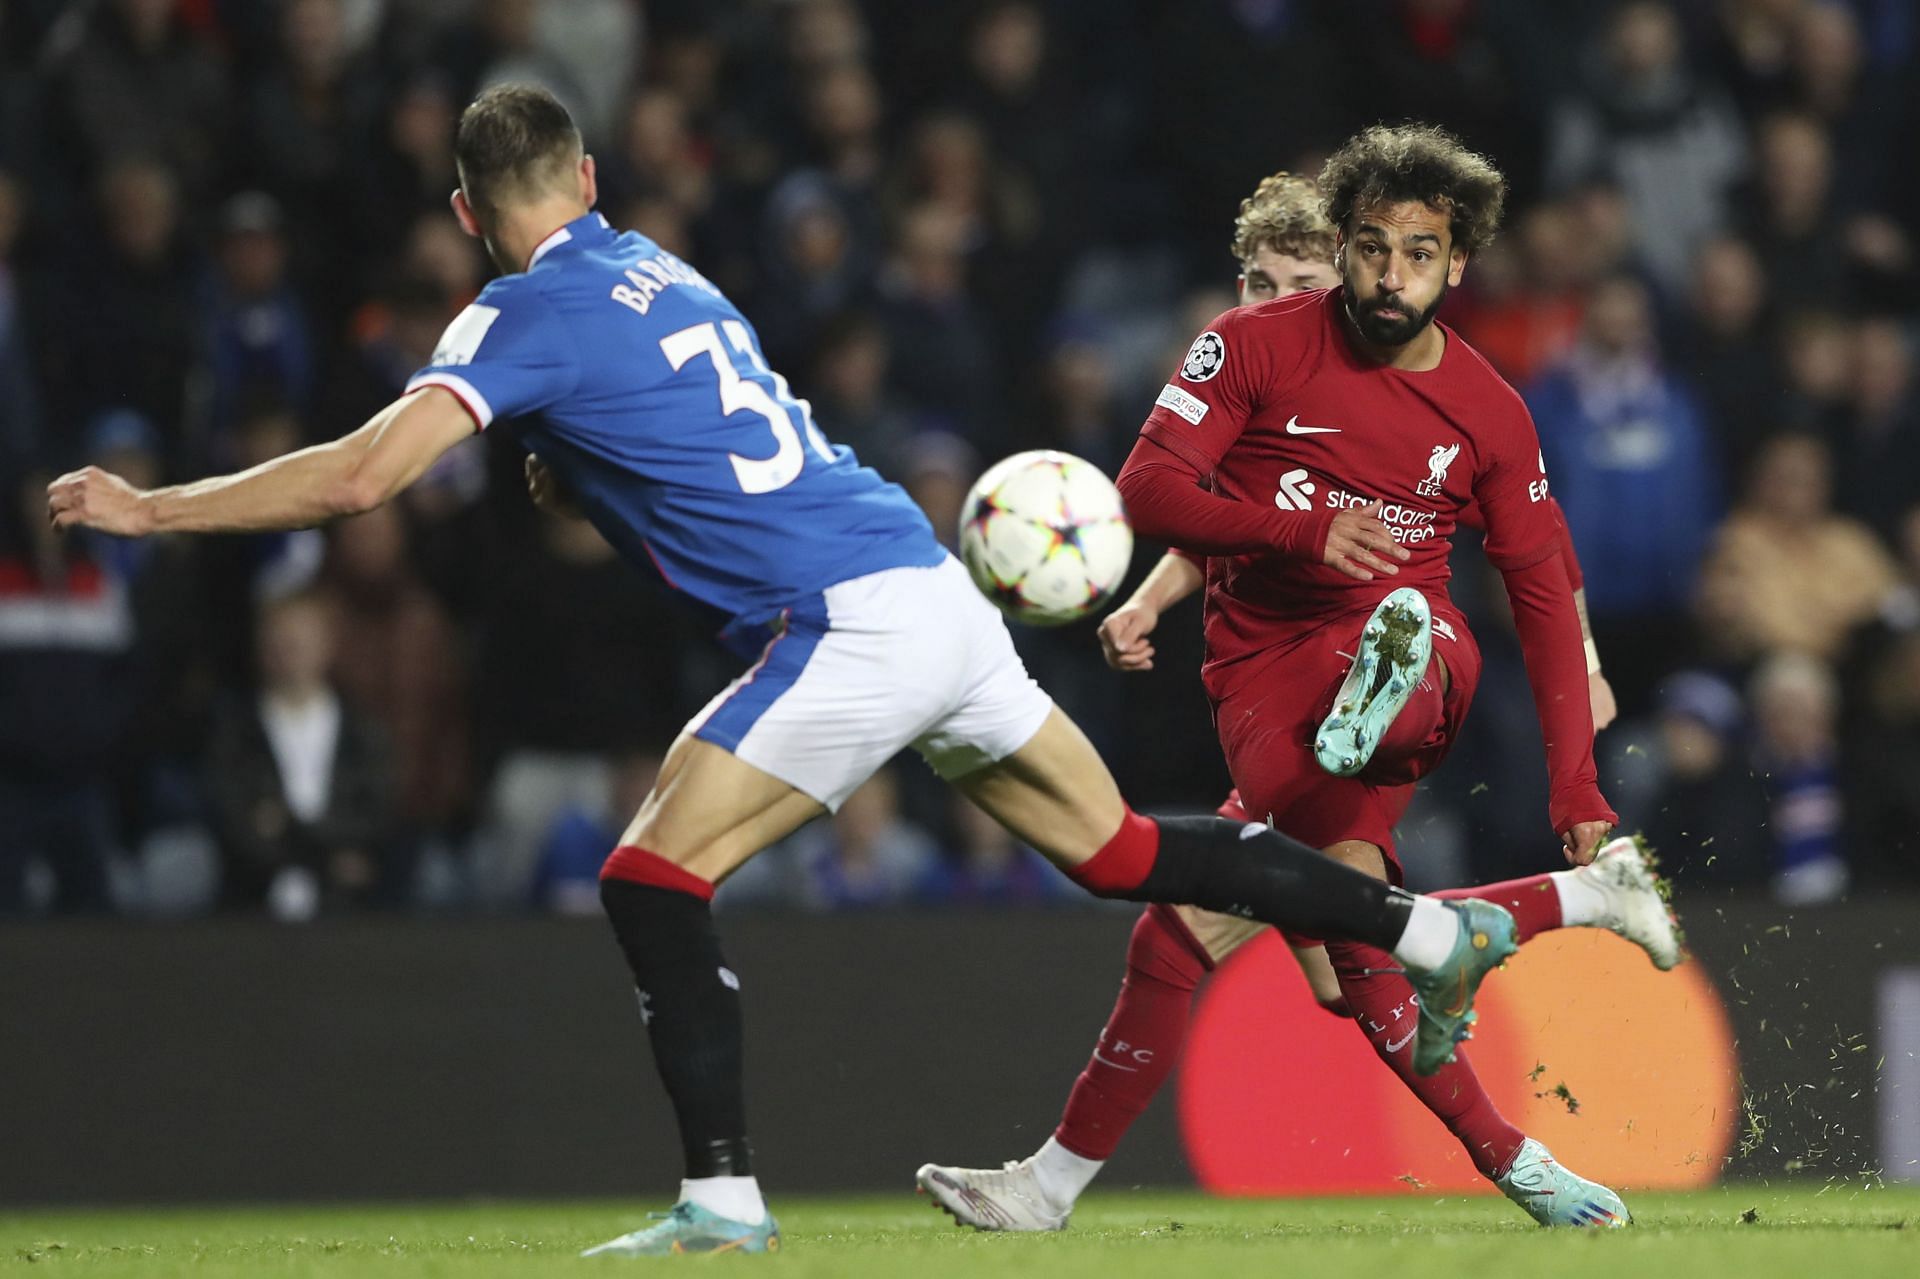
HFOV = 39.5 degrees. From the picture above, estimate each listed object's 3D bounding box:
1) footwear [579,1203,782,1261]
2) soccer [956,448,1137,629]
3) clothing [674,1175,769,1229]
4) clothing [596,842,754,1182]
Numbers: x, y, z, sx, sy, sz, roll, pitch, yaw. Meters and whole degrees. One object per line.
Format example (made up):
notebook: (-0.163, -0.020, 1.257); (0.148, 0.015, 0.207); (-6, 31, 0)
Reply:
footwear: (-0.778, 1.634, 7.418); (0.542, 0.226, 0.199); (4, -19, -6)
soccer: (0.242, -0.319, 7.702); (0.457, 0.471, 0.467); (3, 12, 0)
clothing: (-0.649, 1.524, 7.342); (0.207, 0.145, 0.125); (10, -6, -2)
clothing: (-0.798, 1.024, 7.421); (0.400, 0.879, 0.322); (-1, 9, -6)
